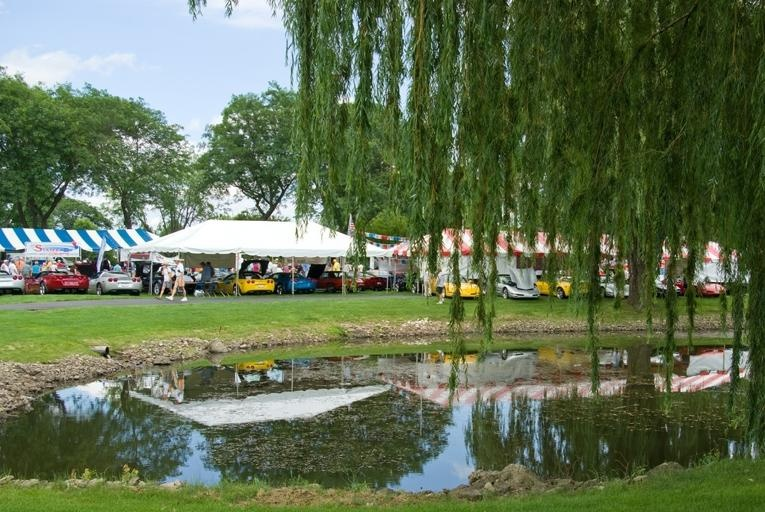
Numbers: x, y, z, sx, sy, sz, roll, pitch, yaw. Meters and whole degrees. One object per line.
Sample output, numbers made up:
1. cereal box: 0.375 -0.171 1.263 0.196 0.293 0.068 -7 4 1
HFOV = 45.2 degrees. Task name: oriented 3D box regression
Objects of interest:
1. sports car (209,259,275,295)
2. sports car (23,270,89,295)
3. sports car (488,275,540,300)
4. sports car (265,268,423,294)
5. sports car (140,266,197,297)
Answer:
1. sports car: -6.574 1.013 42.732 1.773 1.866 3.725 1 -1 -38
2. sports car: -14.247 1.228 40.604 2.646 0.983 2.282 -1 5 -24
3. sports car: 5.010 1.149 34.144 1.113 0.755 2.293 0 0 -19
4. sports car: -2.238 1.274 43.970 7.792 2.082 3.312 -2 -3 21
5. sports car: -10.084 1.117 41.744 2.555 1.026 1.515 3 1 43
